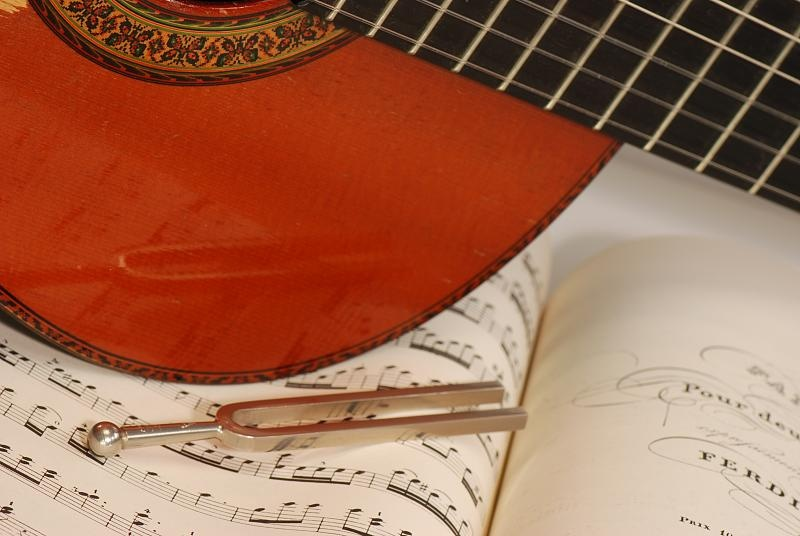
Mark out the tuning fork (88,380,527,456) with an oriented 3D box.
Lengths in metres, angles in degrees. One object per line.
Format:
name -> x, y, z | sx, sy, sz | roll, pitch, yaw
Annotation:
tuning fork -> -0.101, 0.145, 0.955 | 0.283, 0.054, 0.024 | -5, -57, -15
